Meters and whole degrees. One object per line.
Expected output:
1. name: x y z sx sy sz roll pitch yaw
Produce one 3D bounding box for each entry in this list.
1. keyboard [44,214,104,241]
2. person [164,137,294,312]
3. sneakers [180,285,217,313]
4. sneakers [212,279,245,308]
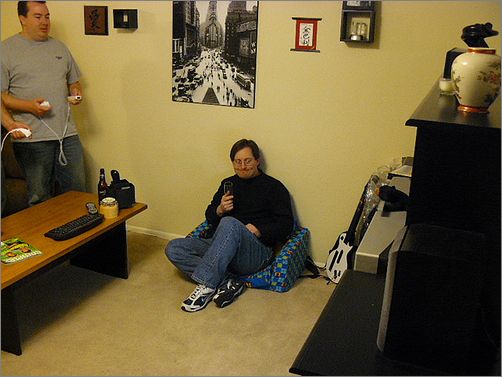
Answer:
1. keyboard: -1.161 0.249 2.648 0.125 0.050 0.279 12 25 22
2. person: -0.370 0.300 3.673 1.200 1.673 1.085 4 -4 -42
3. sneakers: -0.374 0.791 2.875 0.109 0.112 0.275 15 23 29
4. sneakers: -0.161 0.762 2.972 0.114 0.132 0.338 11 13 24
